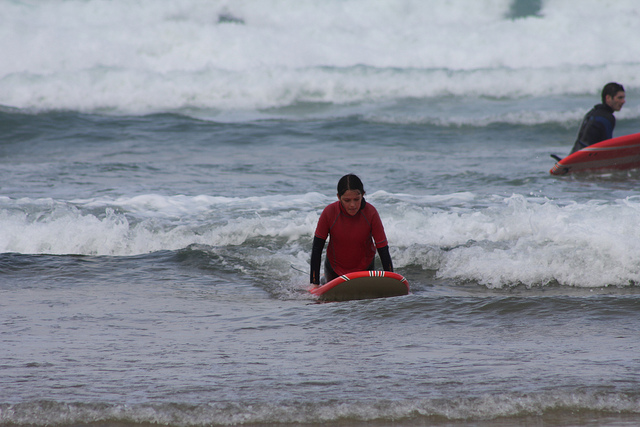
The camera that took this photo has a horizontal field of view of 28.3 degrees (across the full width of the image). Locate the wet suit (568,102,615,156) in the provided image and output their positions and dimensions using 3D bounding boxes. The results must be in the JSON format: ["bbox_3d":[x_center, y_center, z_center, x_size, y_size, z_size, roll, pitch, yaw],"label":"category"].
[{"bbox_3d":[6.811,-2.088,31.329,0.751,1.308,1.156,0,7,-12],"label":"wet suit"}]

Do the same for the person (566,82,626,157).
[{"bbox_3d":[6.921,-2.376,31.074,0.816,1.637,1.526,1,6,-2],"label":"person"}]

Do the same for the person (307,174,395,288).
[{"bbox_3d":[0.623,0.357,24.681,1.541,2.271,0.677,1,7,-1],"label":"person"}]

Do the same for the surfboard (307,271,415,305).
[{"bbox_3d":[0.616,1.397,24.733,1.553,0.273,0.826,2,2,38],"label":"surfboard"}]
